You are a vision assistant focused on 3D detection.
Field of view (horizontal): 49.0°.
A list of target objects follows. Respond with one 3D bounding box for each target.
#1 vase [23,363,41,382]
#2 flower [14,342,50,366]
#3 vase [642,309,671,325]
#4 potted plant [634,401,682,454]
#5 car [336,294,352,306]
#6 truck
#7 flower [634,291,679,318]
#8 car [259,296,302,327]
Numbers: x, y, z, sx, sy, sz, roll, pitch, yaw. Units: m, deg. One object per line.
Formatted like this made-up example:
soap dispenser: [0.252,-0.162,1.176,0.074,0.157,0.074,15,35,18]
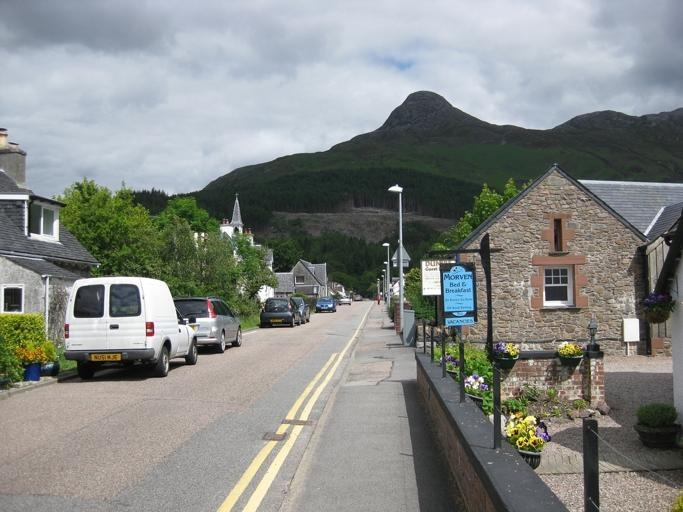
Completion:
vase: [-7.130,2.684,17.230,0.297,0.286,0.355,1,-11,-9]
flower: [-7.102,2.278,17.428,0.467,0.519,1.051,-1,-4,3]
vase: [6.569,1.224,15.515,0.364,0.311,0.413,-1,-6,15]
potted plant: [6.251,3.381,14.772,0.779,0.899,0.795,-1,-11,1]
car: [0.598,6.273,109.018,1.523,1.399,3.562,-2,-11,2]
truck: [-5.209,1.613,19.285,1.740,1.749,3.208,-2,-1,9]
flower: [6.627,1.054,15.508,0.495,0.560,0.523,-2,5,-28]
car: [-3.244,3.095,40.500,1.167,1.181,2.309,-1,-1,5]
